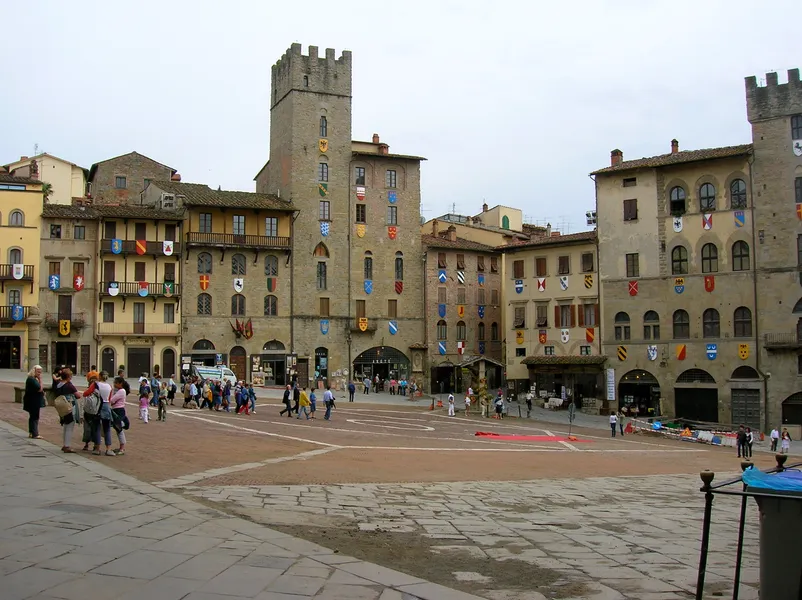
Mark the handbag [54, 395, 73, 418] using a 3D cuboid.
[{"bbox_3d":[-9.026,2.829,25.697,0.412,0.544,0.235,-4,3,-17],"label":"handbag"}]

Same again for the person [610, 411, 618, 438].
[{"bbox_3d":[11.360,6.705,51.452,0.341,1.161,1.910,-1,-7,12],"label":"person"}]

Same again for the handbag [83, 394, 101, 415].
[{"bbox_3d":[-8.373,2.802,26.038,0.261,0.462,0.392,18,-6,42],"label":"handbag"}]
